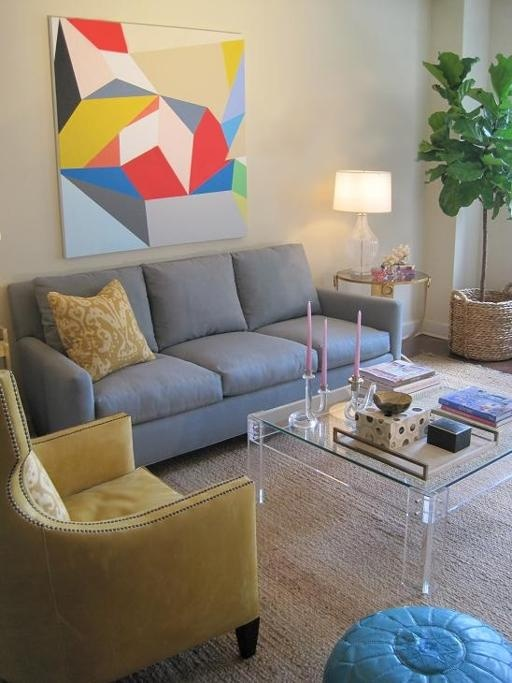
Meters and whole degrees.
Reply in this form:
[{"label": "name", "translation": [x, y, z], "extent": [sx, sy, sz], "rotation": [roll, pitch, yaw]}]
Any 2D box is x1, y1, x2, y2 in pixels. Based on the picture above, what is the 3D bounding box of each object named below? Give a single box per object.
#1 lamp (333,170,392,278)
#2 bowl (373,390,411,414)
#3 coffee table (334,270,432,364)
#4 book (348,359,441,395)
[{"label": "lamp", "translation": [0.722, -0.840, 3.788], "extent": [0.367, 0.724, 0.595], "rotation": [2, 13, 8]}, {"label": "bowl", "translation": [0.441, 0.197, 1.765], "extent": [0.114, 0.062, 0.144], "rotation": [7, 14, 28]}, {"label": "coffee table", "translation": [0.975, -0.305, 4.250], "extent": [0.611, 0.691, 0.632], "rotation": [10, 25, 22]}, {"label": "book", "translation": [0.552, 0.139, 2.164], "extent": [0.166, 0.051, 0.183], "rotation": [12, 20, 35]}]
